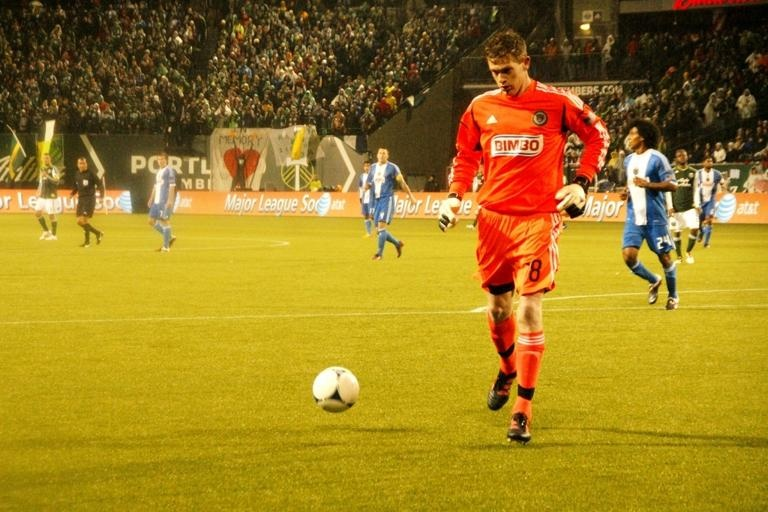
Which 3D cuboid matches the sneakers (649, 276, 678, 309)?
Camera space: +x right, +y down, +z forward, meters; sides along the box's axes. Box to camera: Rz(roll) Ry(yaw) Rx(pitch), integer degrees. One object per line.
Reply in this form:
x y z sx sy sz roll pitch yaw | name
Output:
3.747 0.548 11.287 0.222 0.290 0.669 5 -3 13 | sneakers

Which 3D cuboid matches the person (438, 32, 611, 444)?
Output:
1.073 -0.265 6.956 1.165 3.068 1.167 6 11 36 | person

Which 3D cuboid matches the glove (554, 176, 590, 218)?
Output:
1.514 -0.471 6.759 0.251 0.323 0.350 2 9 13 | glove

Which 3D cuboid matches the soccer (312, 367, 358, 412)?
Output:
-0.405 1.108 6.882 0.386 0.377 0.374 -3 -21 1 | soccer

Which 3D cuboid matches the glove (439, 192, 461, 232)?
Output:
0.591 -0.356 7.076 0.135 0.284 0.210 25 -20 -32 | glove

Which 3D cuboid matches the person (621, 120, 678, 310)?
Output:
3.520 -0.548 11.032 0.724 2.457 0.586 2 9 15 | person
